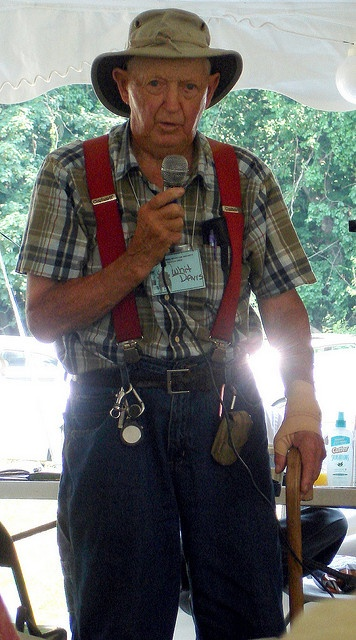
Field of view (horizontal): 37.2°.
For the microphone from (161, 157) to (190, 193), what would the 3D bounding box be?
[{"bbox_3d":[-0.009,-0.333,1.192,0.054,0.073,0.087,1,18,7],"label":"microphone"}]
